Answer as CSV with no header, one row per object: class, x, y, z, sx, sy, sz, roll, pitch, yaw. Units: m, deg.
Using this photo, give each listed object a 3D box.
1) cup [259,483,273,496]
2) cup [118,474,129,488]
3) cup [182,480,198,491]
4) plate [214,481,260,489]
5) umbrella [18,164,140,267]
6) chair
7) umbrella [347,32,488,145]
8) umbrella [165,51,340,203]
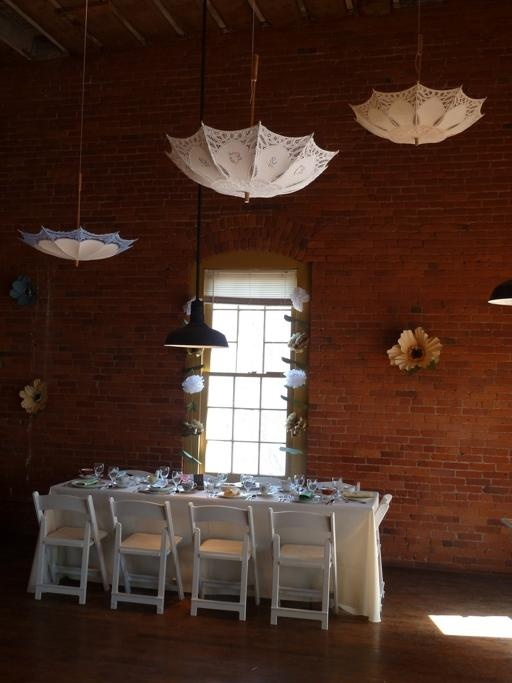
cup,0.076,1.116,4.861,0.077,0.066,0.092,-1,-9,5
cup,-1.028,1.098,5.065,0.070,0.062,0.085,0,-4,-19
cup,-0.496,1.088,4.913,0.095,0.055,0.079,-2,-4,19
plate,-0.139,1.127,5.100,0.208,0.042,0.178,-1,-5,9
umbrella,-1.256,-0.873,4.654,0.718,0.615,0.660,1,-5,1
chair,-0.021,1.443,4.668,1.909,0.825,0.471,2,-1,17
umbrella,0.936,-1.323,3.828,0.474,0.245,0.690,3,-1,-35
umbrella,-0.038,-1.187,3.551,0.780,0.778,0.712,4,-13,20
